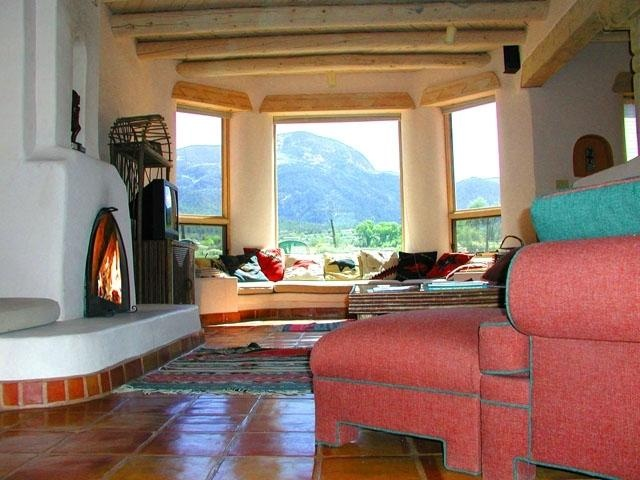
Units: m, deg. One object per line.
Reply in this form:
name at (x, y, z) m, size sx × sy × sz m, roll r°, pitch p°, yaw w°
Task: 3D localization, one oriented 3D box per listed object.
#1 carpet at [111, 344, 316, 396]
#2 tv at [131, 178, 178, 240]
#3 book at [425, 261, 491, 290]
carpet at (-0.481, 0.761, 2.806) m, size 0.983 × 0.033 × 1.110 m, roll 0°, pitch -2°, yaw 4°
tv at (-1.469, -0.258, 4.100) m, size 0.414 × 0.521 × 0.634 m, roll -1°, pitch -2°, yaw 0°
book at (1.069, 0.259, 3.584) m, size 0.544 × 0.171 × 0.380 m, roll -1°, pitch -3°, yaw -25°
